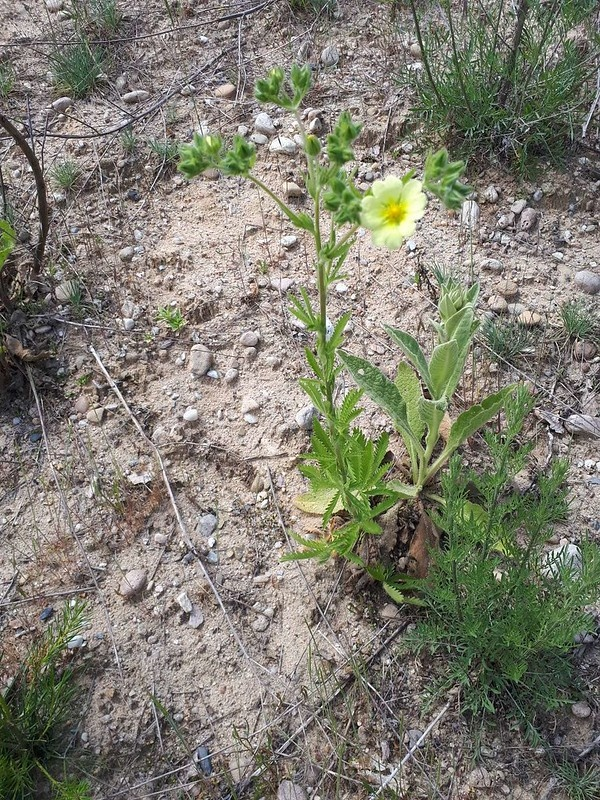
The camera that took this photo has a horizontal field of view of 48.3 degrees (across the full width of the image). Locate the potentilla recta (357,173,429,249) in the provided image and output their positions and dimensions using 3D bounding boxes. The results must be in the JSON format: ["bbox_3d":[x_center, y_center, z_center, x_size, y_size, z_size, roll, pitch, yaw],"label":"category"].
[{"bbox_3d":[0.217,-0.451,1.552,0.145,0.145,0.052,8,76,-6],"label":"potentilla recta"}]
